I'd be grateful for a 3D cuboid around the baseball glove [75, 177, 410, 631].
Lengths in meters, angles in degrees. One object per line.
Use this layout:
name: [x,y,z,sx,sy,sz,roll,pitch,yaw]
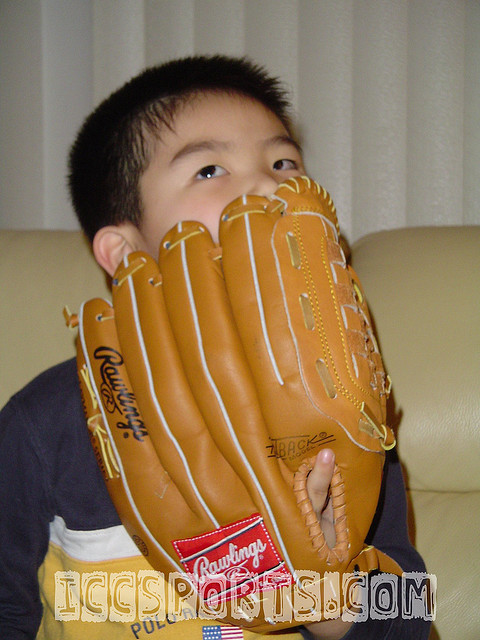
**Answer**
baseball glove: [0.036,0.046,0.668,0.326,0.408,0.125,-18,-10,25]
